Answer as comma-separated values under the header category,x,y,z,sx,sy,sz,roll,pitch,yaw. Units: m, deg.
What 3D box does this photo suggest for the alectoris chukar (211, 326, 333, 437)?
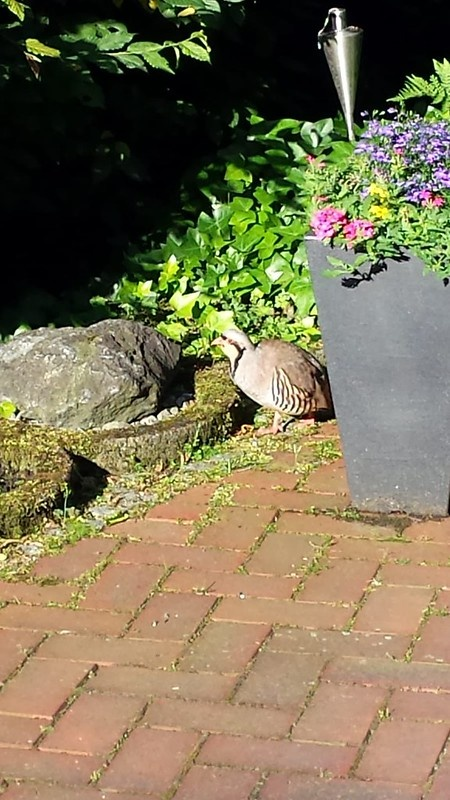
category,x,y,z,sx,sy,sz,roll,pitch,yaw
alectoris chukar,0.274,-0.092,4.621,0.727,0.466,0.360,7,17,0
